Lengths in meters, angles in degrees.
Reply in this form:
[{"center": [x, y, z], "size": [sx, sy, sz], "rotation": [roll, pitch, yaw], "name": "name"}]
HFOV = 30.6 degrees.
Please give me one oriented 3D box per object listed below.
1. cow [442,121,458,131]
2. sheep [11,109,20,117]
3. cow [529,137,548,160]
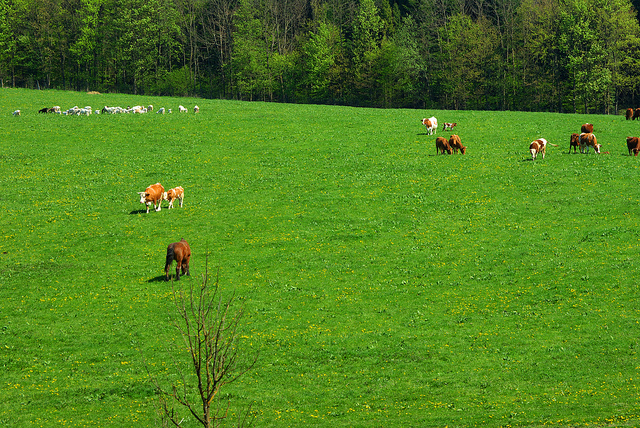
[{"center": [16.802, -11.070, 152.328], "size": [1.809, 1.032, 2.479], "rotation": [-3, 6, 5], "name": "cow"}, {"center": [-40.749, -13.232, 157.989], "size": [1.225, 0.576, 1.239], "rotation": [-2, 0, -23], "name": "sheep"}, {"center": [26.531, -7.567, 141.524], "size": [1.555, 2.432, 3.646], "rotation": [0, 7, 36], "name": "cow"}]
